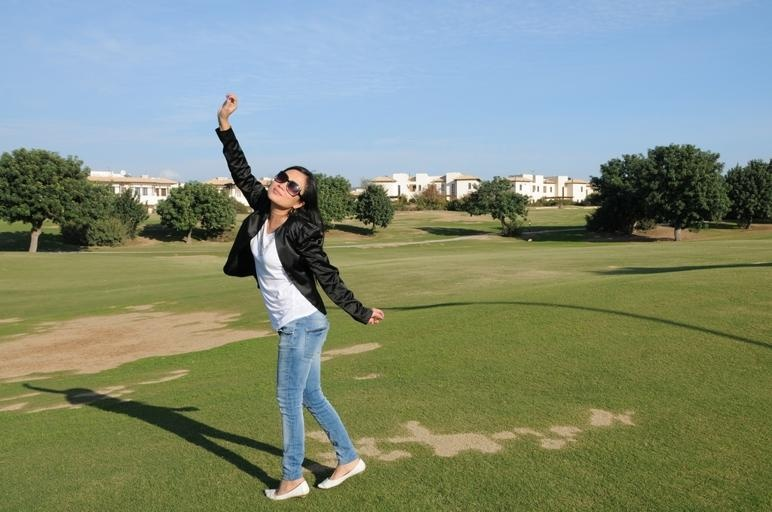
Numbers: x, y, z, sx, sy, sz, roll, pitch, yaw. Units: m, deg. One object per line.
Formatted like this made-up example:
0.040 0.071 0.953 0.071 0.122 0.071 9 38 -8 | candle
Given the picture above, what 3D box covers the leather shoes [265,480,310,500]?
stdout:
-0.990 2.387 4.898 0.483 0.159 0.167 1 -6 -4 | leather shoes
